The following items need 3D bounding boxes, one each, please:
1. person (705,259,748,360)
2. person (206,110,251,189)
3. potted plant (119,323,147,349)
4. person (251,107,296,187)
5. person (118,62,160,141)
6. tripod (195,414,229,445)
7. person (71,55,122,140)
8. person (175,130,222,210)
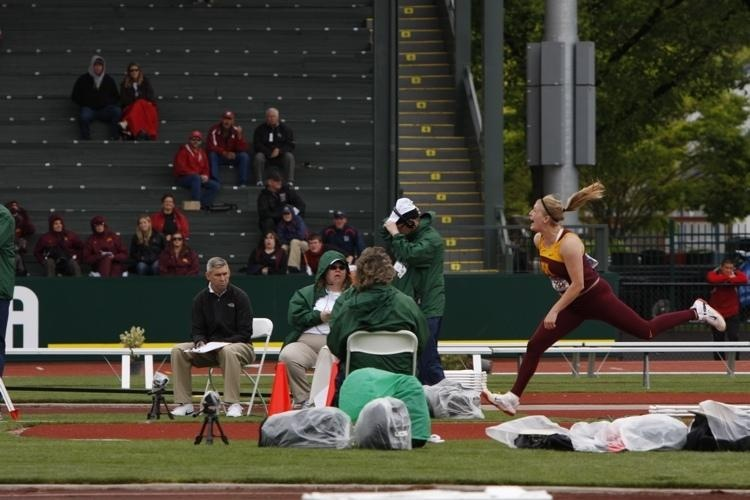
[{"bbox_3d":[7.823,1.339,45.259,0.916,2.241,1.063,0,-1,-1],"label":"person"},{"bbox_3d":[-3.427,-2.384,48.240,0.814,1.897,0.796,12,-1,1],"label":"person"},{"bbox_3d":[-5.078,1.836,42.231,0.682,0.525,0.634,6,2,4],"label":"potted plant"},{"bbox_3d":[-2.373,-2.435,47.873,1.135,1.670,1.131,-9,21,-29],"label":"person"},{"bbox_3d":[-5.680,-3.518,48.719,0.904,1.819,0.419,-3,-2,-7],"label":"person"},{"bbox_3d":[-3.029,3.374,37.475,0.716,0.770,0.542,1,-16,-4],"label":"tripod"},{"bbox_3d":[-6.701,-3.643,49.024,1.304,1.978,1.184,-1,12,-7],"label":"person"},{"bbox_3d":[-4.192,-1.808,47.741,0.801,1.665,0.727,-5,-3,43],"label":"person"}]
